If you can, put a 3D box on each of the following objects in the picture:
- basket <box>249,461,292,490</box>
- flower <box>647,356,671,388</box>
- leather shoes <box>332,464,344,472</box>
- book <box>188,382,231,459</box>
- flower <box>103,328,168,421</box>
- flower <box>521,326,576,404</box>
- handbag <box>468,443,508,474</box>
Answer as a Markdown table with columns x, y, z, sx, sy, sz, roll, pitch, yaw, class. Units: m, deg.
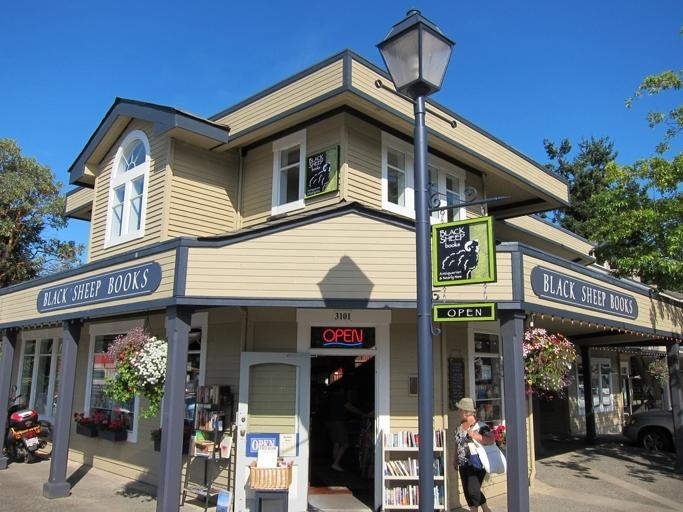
| x | y | z | sx | sy | sz | roll | pitch | yaw | class |
| --- | --- | --- | --- | --- | --- | --- | --- | --- | --- |
| -1.367 | 4.211 | 10.789 | 0.532 | 0.345 | 0.566 | 0 | -10 | 8 | basket |
| 15.015 | 5.323 | 26.025 | 0.747 | 1.234 | 2.337 | -8 | -20 | 27 | flower |
| -0.095 | 5.439 | 14.112 | 0.347 | 0.161 | 0.130 | 14 | -11 | 0 | leather shoes |
| -2.758 | 3.454 | 11.607 | 0.928 | 1.458 | 0.504 | -11 | -21 | 35 | book |
| -3.827 | 2.128 | 10.720 | 1.138 | 1.457 | 1.164 | 4 | 20 | 6 | flower |
| 4.387 | 2.204 | 11.649 | 0.954 | 1.343 | 2.174 | -7 | -19 | 25 | flower |
| 2.529 | 3.541 | 9.606 | 0.542 | 0.590 | 0.221 | 10 | -33 | -35 | handbag |
